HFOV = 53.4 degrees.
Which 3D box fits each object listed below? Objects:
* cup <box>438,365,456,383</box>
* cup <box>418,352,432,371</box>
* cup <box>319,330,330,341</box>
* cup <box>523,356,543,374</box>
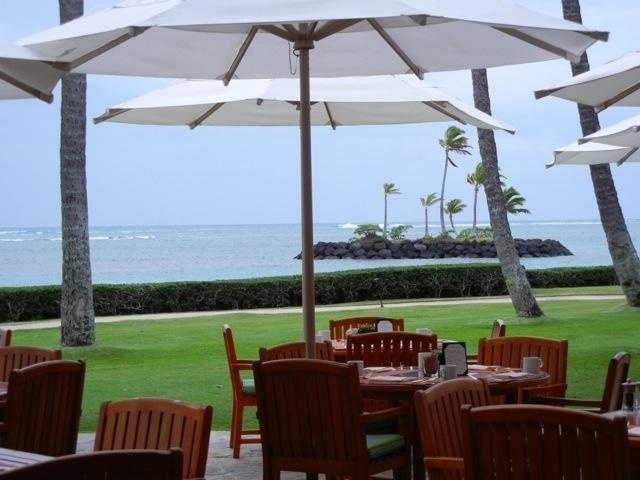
[{"bbox_3d":[0.948,0.977,4.694,0.127,0.105,0.161,1,-4,-31],"label":"cup"},{"bbox_3d":[0.813,0.951,4.990,0.146,0.138,0.133,0,-4,-7],"label":"cup"},{"bbox_3d":[0.053,1.029,6.834,0.128,0.105,0.128,1,2,0],"label":"cup"},{"bbox_3d":[1.676,0.993,5.050,0.183,0.112,0.124,1,-4,1],"label":"cup"}]
